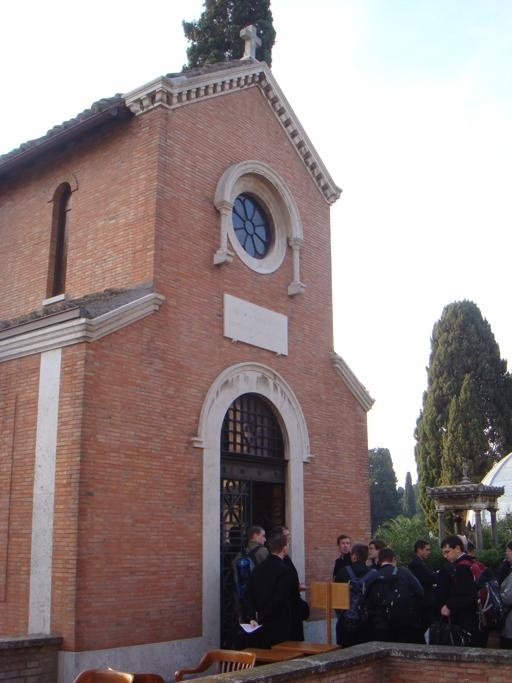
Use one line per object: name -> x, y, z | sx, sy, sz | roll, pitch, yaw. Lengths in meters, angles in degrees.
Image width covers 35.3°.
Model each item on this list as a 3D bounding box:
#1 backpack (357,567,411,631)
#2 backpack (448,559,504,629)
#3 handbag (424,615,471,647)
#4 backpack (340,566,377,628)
backpack -> 1.433, 2.740, 8.489 | 0.568, 0.741, 0.394 | -2, -23, 2
backpack -> 2.345, 2.645, 8.324 | 0.408, 0.692, 0.531 | -7, -58, 4
handbag -> 2.047, 3.070, 8.452 | 0.421, 0.254, 0.500 | 4, -19, -18
backpack -> 1.167, 2.755, 8.595 | 0.436, 0.769, 0.434 | 6, -57, 7
